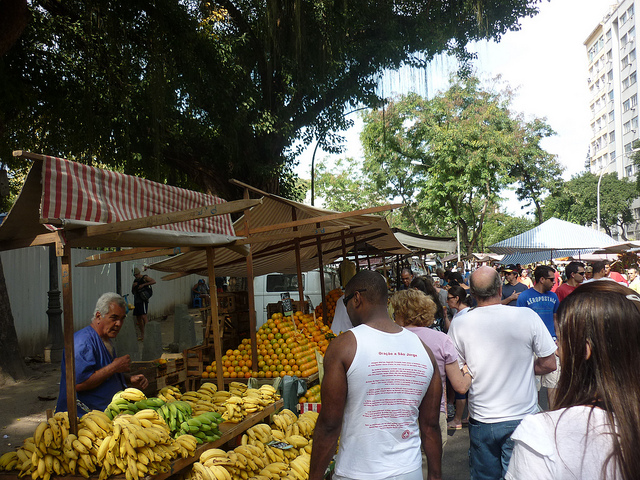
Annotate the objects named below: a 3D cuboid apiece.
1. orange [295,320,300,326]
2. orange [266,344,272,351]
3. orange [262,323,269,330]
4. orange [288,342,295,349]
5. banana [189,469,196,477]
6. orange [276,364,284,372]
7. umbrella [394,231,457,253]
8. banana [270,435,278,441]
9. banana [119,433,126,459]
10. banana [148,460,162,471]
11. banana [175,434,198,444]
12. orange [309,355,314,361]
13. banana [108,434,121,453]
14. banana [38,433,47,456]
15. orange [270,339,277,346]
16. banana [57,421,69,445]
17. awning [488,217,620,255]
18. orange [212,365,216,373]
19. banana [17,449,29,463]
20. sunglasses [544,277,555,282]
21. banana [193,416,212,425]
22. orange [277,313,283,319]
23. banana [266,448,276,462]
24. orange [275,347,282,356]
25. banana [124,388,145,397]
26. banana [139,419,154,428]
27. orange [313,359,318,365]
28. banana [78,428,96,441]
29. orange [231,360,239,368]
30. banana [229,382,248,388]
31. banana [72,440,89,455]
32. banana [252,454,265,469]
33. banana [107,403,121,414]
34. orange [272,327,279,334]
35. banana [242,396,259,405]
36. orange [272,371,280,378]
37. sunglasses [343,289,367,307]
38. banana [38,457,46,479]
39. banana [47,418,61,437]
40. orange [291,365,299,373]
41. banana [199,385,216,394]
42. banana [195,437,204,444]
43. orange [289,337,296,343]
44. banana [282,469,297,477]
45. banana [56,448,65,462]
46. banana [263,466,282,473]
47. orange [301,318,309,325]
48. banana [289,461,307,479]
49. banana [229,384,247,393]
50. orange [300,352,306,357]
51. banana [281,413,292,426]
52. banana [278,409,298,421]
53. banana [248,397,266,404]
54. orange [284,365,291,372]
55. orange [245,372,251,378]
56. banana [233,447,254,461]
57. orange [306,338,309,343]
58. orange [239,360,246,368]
[{"bbox_3d":[-0.351,1.253,8.362,0.066,0.083,0.091,-1,-5,-4],"label":"orange"},{"bbox_3d":[-0.708,1.477,7.613,0.061,0.080,0.066,19,-45,-22],"label":"orange"},{"bbox_3d":[-0.780,1.227,7.909,0.065,0.087,0.071,10,-32,-13],"label":"orange"},{"bbox_3d":[-0.398,1.445,7.556,0.090,0.079,0.094,-1,-5,-9],"label":"orange"},{"bbox_3d":[-1.114,2.049,4.828,0.046,0.072,0.016,-18,10,35],"label":"banana"},{"bbox_3d":[-0.535,1.716,7.396,0.092,0.092,0.065,-1,-4,-10],"label":"orange"},{"bbox_3d":[3.097,0.053,16.381,2.977,0.531,0.565,4,-7,-44],"label":"umbrella"},{"bbox_3d":[-0.500,2.145,6.005,0.067,0.048,0.043,-1,-4,-8],"label":"banana"},{"bbox_3d":[-1.529,1.600,4.286,0.055,0.184,0.045,7,-15,-41],"label":"banana"},{"bbox_3d":[-1.283,1.765,4.320,0.122,0.045,0.034,33,19,8],"label":"banana"},{"bbox_3d":[-1.144,1.718,4.729,0.184,0.089,0.080,-1,-5,-14],"label":"banana"},{"bbox_3d":[-0.120,1.636,7.708,0.036,0.066,0.091,-3,-5,21],"label":"orange"},{"bbox_3d":[-1.599,1.593,4.312,0.038,0.164,0.054,9,-8,37],"label":"banana"},{"bbox_3d":[-2.189,1.616,4.371,0.052,0.180,0.044,-1,-9,-12],"label":"banana"},{"bbox_3d":[-0.650,1.411,7.652,0.097,0.065,0.076,-1,-5,-4],"label":"orange"},{"bbox_3d":[-2.030,1.527,4.382,0.051,0.181,0.064,-36,-22,-38],"label":"banana"},{"bbox_3d":[6.827,-0.172,16.565,1.439,1.111,3.715,1,-6,-26],"label":"awning"},{"bbox_3d":[-1.414,1.735,7.404,0.051,0.055,0.056,-1,-33,-7],"label":"orange"},{"bbox_3d":[-2.402,1.750,4.482,0.120,0.039,0.035,11,-35,43],"label":"banana"},{"bbox_3d":[3.305,0.574,8.003,0.077,0.065,0.319,-5,-6,34],"label":"sunglasses"},{"bbox_3d":[-1.027,1.597,4.920,0.201,0.074,0.061,-2,-36,17],"label":"banana"},{"bbox_3d":[-0.590,1.111,8.085,0.070,0.079,0.229,-1,-6,-4],"label":"orange"},{"bbox_3d":[-0.509,2.227,5.725,0.098,0.124,0.090,-2,-4,6],"label":"banana"},{"bbox_3d":[-0.577,1.515,7.511,0.066,0.090,0.075,-1,-17,-3],"label":"orange"},{"bbox_3d":[-1.664,1.345,4.945,0.137,0.049,0.075,19,-9,4],"label":"banana"},{"bbox_3d":[-1.429,1.518,4.568,0.108,0.054,0.072,0,-5,-21],"label":"banana"},{"bbox_3d":[-0.074,1.691,7.648,0.040,0.063,0.190,-1,-6,-8],"label":"orange"},{"bbox_3d":[-1.857,1.555,4.411,0.161,0.090,0.054,-3,-4,13],"label":"banana"},{"bbox_3d":[-1.161,1.685,7.537,0.072,0.092,0.074,-31,-40,31],"label":"orange"},{"bbox_3d":[-0.922,1.653,6.309,0.239,0.092,0.071,4,-6,-12],"label":"banana"},{"bbox_3d":[-1.881,1.626,4.335,0.059,0.159,0.053,-46,-11,-18],"label":"banana"},{"bbox_3d":[-0.594,2.173,5.436,0.053,0.190,0.054,-39,14,-10],"label":"banana"},{"bbox_3d":[-1.761,1.440,4.743,0.032,0.084,0.060,-40,-22,-35],"label":"banana"},{"bbox_3d":[-0.638,1.279,7.789,0.067,0.069,0.078,-39,2,-39],"label":"orange"},{"bbox_3d":[-0.723,1.645,5.674,0.103,0.039,0.079,19,-3,-13],"label":"banana"},{"bbox_3d":[-0.592,1.786,7.328,0.065,0.076,0.069,2,-3,-11],"label":"orange"},{"bbox_3d":[0.239,0.441,4.031,0.126,0.038,0.129,-22,-3,5],"label":"sunglasses"},{"bbox_3d":[-2.182,1.797,4.343,0.052,0.151,0.055,1,-4,-34],"label":"banana"},{"bbox_3d":[-2.101,1.494,4.382,0.039,0.119,0.033,-10,-34,-51],"label":"banana"},{"bbox_3d":[-0.338,1.707,7.358,0.068,0.074,0.081,17,15,-31],"label":"orange"},{"bbox_3d":[-1.196,1.599,5.947,0.134,0.041,0.078,25,18,-4],"label":"banana"},{"bbox_3d":[-1.048,1.750,4.808,0.026,0.095,0.029,-36,-17,4],"label":"banana"},{"bbox_3d":[-0.378,1.391,7.704,0.075,0.066,0.117,-4,-6,25],"label":"orange"},{"bbox_3d":[-0.303,2.361,5.586,0.156,0.045,0.057,25,-45,-2],"label":"banana"},{"bbox_3d":[-2.048,1.709,4.379,0.030,0.091,0.024,-18,-11,-36],"label":"banana"},{"bbox_3d":[-0.474,2.276,5.493,0.203,0.078,0.057,-12,-22,43],"label":"banana"},{"bbox_3d":[-0.245,1.240,8.437,0.077,0.060,0.101,-7,-8,7],"label":"orange"},{"bbox_3d":[-0.232,2.358,5.752,0.072,0.097,0.263,-10,36,-39],"label":"banana"},{"bbox_3d":[-0.925,1.664,6.184,0.240,0.096,0.071,3,-21,13],"label":"banana"},{"bbox_3d":[-0.225,1.571,7.578,0.044,0.059,0.070,-5,-6,37],"label":"orange"},{"bbox_3d":[-0.381,2.074,6.391,0.049,0.183,0.068,0,-45,-49],"label":"banana"},{"bbox_3d":[-0.355,2.066,6.553,0.051,0.161,0.131,-40,6,-38],"label":"banana"},{"bbox_3d":[-0.658,1.662,5.715,0.160,0.058,0.047,23,-52,-13],"label":"banana"},{"bbox_3d":[-0.443,1.704,7.365,0.060,0.073,0.064,-32,-61,19],"label":"orange"},{"bbox_3d":[-0.964,1.798,7.342,0.056,0.062,0.060,1,1,-9],"label":"orange"},{"bbox_3d":[-0.739,2.047,5.276,0.215,0.085,0.061,22,16,27],"label":"banana"},{"bbox_3d":[-0.191,1.481,8.159,0.036,0.060,0.096,-2,-5,-1],"label":"orange"},{"bbox_3d":[-1.060,1.669,7.477,0.060,0.080,0.067,-4,-24,11],"label":"orange"}]
